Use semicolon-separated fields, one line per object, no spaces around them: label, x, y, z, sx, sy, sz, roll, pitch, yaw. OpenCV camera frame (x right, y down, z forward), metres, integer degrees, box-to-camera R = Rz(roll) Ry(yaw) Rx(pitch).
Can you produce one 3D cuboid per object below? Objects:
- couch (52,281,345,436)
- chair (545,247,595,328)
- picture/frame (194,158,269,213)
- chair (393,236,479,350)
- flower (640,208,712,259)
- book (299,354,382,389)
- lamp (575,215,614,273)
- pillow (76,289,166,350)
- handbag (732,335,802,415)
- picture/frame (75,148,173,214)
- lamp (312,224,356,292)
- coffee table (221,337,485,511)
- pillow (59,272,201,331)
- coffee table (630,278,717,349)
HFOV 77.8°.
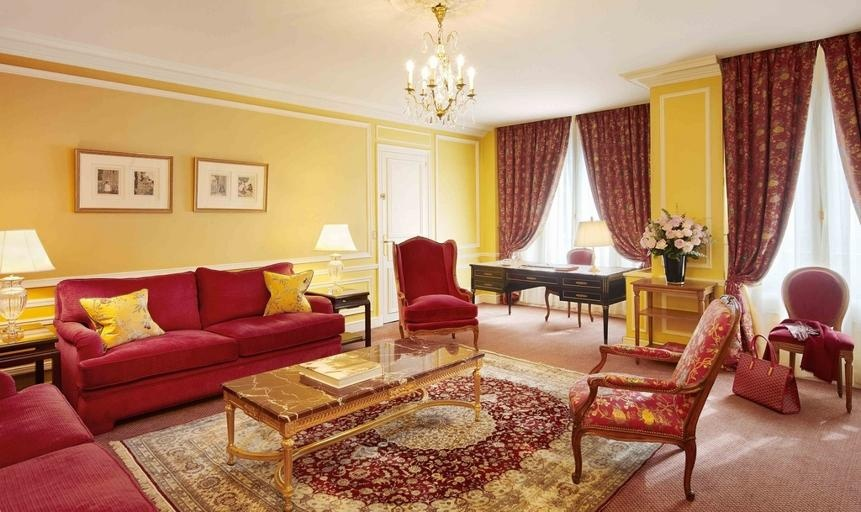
couch;-2.598;0.824;6.259;1.281;1.241;2.946;14;13;41
chair;2.232;0.391;8.147;0.720;1.083;0.771;-3;1;43
picture/frame;-2.607;-0.897;6.836;0.886;0.541;0.058;1;-1;-40
chair;0.013;0.478;7.127;1.138;1.247;1.177;-10;19;-40
flower;3.107;-0.197;6.714;0.688;0.525;0.723;-17;-23;36
book;-0.785;1.042;4.866;0.386;0.072;0.388;4;5;42
lamp;2.285;-0.149;7.442;0.574;0.703;0.539;-5;4;-10
pillow;-3.248;0.655;5.600;0.201;0.579;0.658;-35;-8;33
handbag;3.532;1.319;5.575;0.234;0.500;0.560;-6;8;-34
picture/frame;-3.613;-0.860;6.170;0.962;0.604;0.076;1;-1;-37
lamp;-1.317;0.022;7.412;0.528;0.921;0.780;-3;7;-12
coffee table;-0.714;1.481;5.057;2.180;1.046;0.882;-4;7;-31
pillow;-3.175;0.537;5.990;0.352;0.590;1.086;2;3;42
coffee table;2.921;0.662;6.310;1.006;0.939;0.555;-1;-2;40
